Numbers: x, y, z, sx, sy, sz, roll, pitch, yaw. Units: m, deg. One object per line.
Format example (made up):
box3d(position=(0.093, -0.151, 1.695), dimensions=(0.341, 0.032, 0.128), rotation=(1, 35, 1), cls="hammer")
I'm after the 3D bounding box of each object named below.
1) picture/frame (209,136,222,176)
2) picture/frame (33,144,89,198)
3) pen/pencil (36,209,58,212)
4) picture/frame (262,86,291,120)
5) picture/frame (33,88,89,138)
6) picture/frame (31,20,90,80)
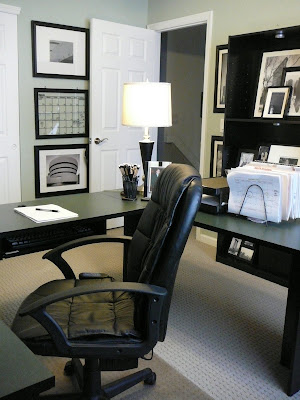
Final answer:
box3d(position=(0.691, -0.424, 3.259), dimensions=(0.017, 0.344, 0.175), rotation=(13, 21, 15), cls="picture/frame")
box3d(position=(-0.971, -0.323, 3.329), dimensions=(0.503, 0.491, 0.036), rotation=(-7, 16, -35), cls="picture/frame")
box3d(position=(-0.556, 0.057, 1.675), dimensions=(0.096, 0.012, 0.011), rotation=(4, -5, 6), cls="pen/pencil")
box3d(position=(0.914, -0.693, 2.233), dimensions=(0.029, 0.322, 0.227), rotation=(8, -8, -35), cls="picture/frame")
box3d(position=(-0.955, -0.923, 3.271), dimensions=(0.493, 0.536, 0.042), rotation=(-6, 14, -33), cls="picture/frame")
box3d(position=(-0.929, -1.528, 3.146), dimensions=(0.603, 0.572, 0.046), rotation=(-5, 10, -39), cls="picture/frame")
